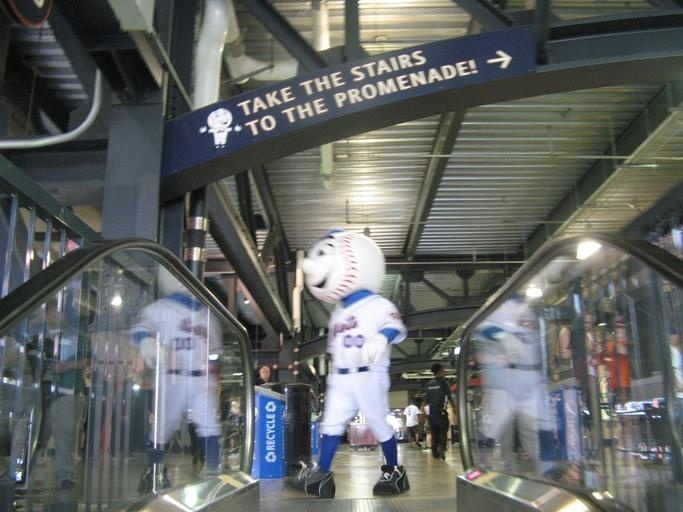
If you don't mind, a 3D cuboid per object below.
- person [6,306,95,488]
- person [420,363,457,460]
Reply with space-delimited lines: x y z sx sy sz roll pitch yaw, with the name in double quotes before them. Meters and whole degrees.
"person" -1.022 0.475 1.945 0.093 0.634 0.323 -10 -22 18
"person" 1.580 2.444 8.999 0.445 1.506 1.050 -5 -21 7
